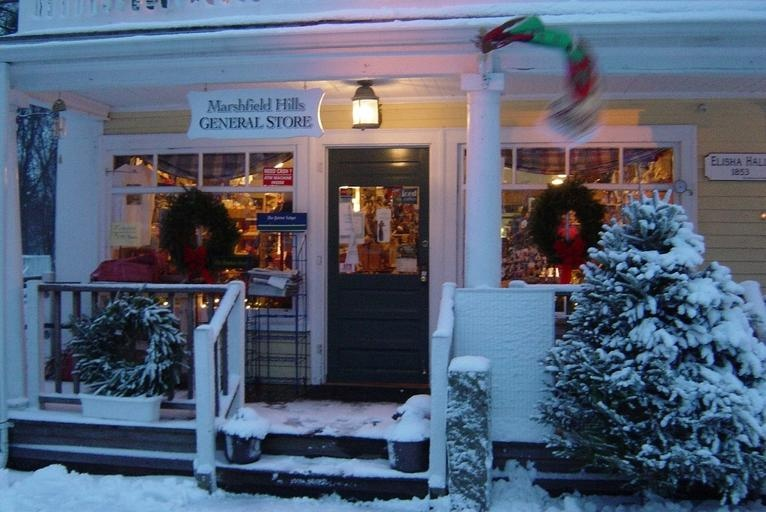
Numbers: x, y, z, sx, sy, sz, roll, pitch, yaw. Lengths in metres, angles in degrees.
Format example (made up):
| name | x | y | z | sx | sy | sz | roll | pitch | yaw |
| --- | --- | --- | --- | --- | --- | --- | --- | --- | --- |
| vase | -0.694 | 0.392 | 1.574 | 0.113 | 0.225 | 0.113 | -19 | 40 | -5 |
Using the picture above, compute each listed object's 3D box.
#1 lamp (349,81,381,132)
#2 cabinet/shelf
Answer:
| name | x | y | z | sx | sy | sz | roll | pitch | yaw |
| --- | --- | --- | --- | --- | --- | --- | --- | --- | --- |
| lamp | -0.144 | -1.604 | 9.191 | 0.417 | 0.467 | 0.372 | -4 | 19 | 3 |
| cabinet/shelf | -1.173 | 0.596 | 9.671 | 0.734 | 1.736 | 0.429 | 1 | -4 | 0 |
